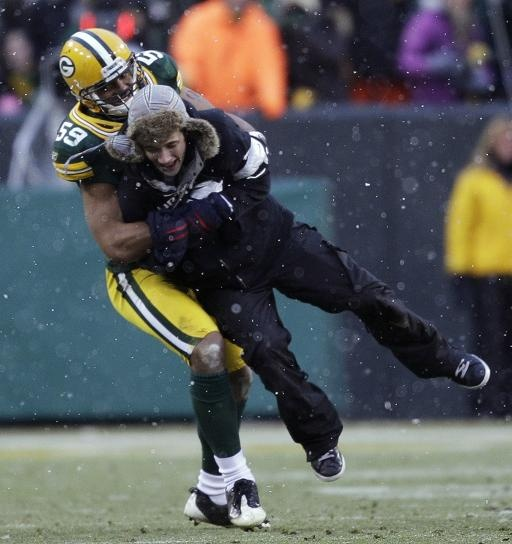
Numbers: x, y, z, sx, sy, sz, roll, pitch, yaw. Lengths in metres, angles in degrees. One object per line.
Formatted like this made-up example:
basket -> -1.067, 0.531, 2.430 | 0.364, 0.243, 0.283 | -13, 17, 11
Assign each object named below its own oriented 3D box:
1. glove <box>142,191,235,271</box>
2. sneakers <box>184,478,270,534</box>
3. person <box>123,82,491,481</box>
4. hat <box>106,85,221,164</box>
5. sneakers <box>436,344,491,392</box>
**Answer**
glove -> -0.273, -0.177, 3.536 | 0.404, 0.215, 0.155 | -27, 21, -22
sneakers -> -0.138, 0.998, 3.780 | 0.183, 0.189, 0.518 | 14, -18, -35
person -> 0.100, -0.018, 3.712 | 0.889, 1.612, 0.867 | 22, 43, 40
hat -> -0.364, -0.544, 3.419 | 0.428, 0.313, 0.279 | -12, 31, -7
sneakers -> 0.882, 0.432, 4.070 | 0.351, 0.107, 0.127 | 23, 12, 13
